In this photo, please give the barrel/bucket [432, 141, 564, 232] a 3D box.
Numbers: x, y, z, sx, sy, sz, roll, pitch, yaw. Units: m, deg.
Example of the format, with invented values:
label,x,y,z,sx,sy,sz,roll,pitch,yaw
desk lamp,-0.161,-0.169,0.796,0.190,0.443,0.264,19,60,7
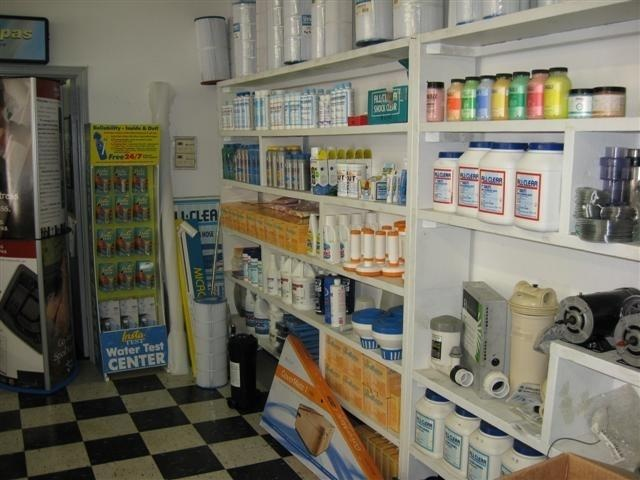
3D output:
label,x,y,z,sx,sy,sz,roll,pitch,yaw
barrel/bucket,0.841,-0.234,2.231,0.153,0.355,0.456,-6,14,-25
